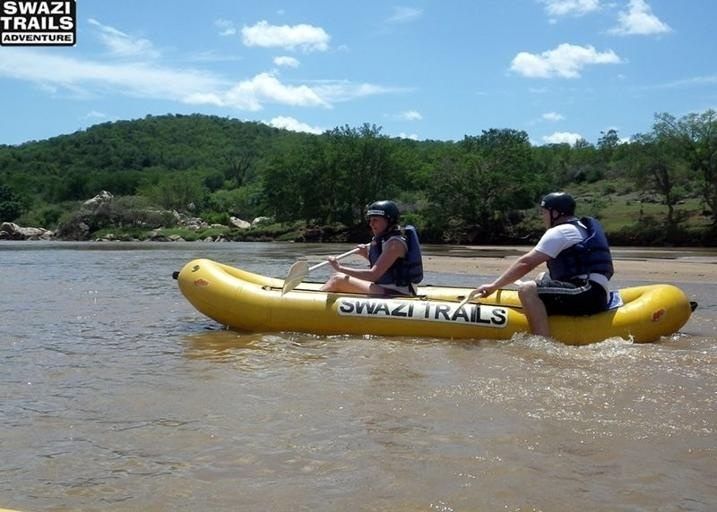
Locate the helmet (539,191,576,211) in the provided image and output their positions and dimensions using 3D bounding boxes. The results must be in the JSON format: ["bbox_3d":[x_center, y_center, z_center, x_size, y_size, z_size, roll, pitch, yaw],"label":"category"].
[{"bbox_3d":[2.362,-0.641,8.209,0.341,0.241,0.269,15,7,30],"label":"helmet"}]

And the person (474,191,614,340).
[{"bbox_3d":[2.330,0.094,8.040,1.446,1.612,0.696,-2,16,0],"label":"person"}]

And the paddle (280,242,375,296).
[{"bbox_3d":[-0.534,0.125,9.536,1.438,0.414,0.112,-14,26,-31],"label":"paddle"}]

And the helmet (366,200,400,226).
[{"bbox_3d":[0.348,-0.579,8.905,0.411,0.298,0.331,8,-4,-6],"label":"helmet"}]
